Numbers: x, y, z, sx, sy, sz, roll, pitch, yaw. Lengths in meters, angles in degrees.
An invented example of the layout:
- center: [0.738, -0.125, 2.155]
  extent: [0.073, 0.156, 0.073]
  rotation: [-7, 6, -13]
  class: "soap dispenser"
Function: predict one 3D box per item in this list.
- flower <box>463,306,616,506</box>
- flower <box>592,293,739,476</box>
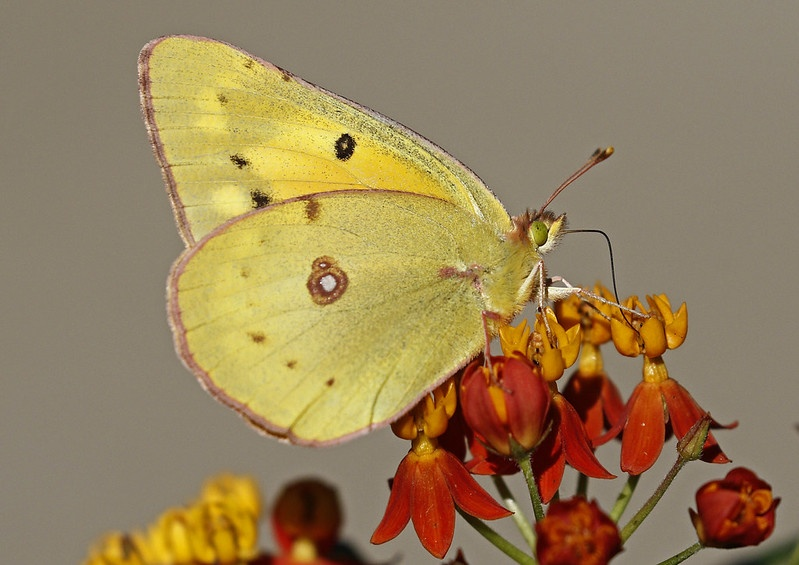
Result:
- center: [0.352, 0.261, 2.737]
  extent: [0.349, 0.394, 0.347]
  rotation: [-8, 16, 19]
  class: "flower"
- center: [0.620, 0.249, 2.837]
  extent: [0.320, 0.365, 0.305]
  rotation: [-6, 5, -39]
  class: "flower"
